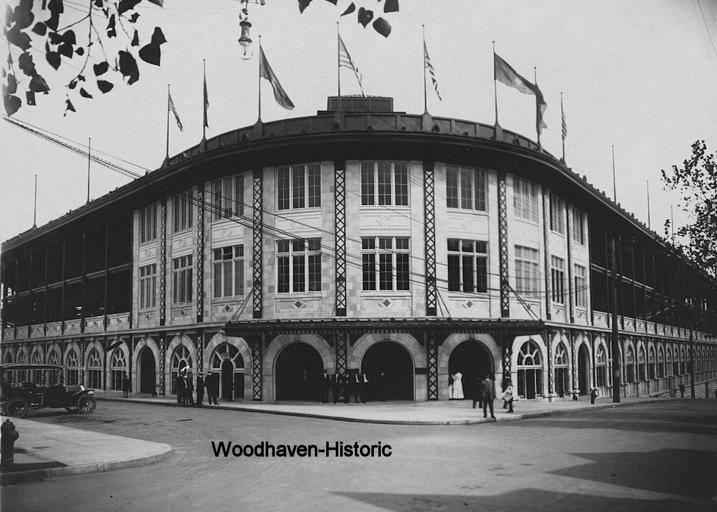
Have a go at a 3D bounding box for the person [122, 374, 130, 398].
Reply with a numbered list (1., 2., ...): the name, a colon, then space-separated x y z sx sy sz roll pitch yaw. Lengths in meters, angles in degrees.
1. person: -15.224 8.647 63.125 0.380 1.617 2.505 0 4 -15

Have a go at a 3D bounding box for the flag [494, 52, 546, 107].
1. flag: 9.692 -11.264 58.909 2.710 2.352 3.044 2 4 10
